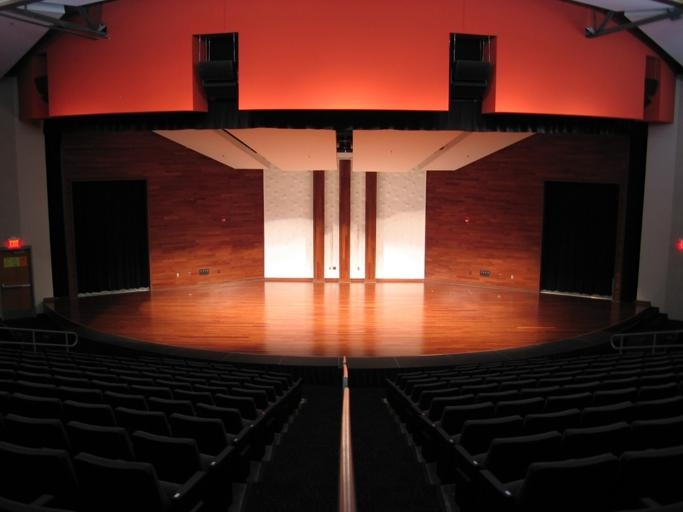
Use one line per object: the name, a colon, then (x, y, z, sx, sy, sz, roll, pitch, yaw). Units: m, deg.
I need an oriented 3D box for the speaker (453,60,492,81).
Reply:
speaker: (2.294, -3.237, 9.547, 0.412, 0.262, 0.417, 0, 13, -3)

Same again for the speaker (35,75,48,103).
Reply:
speaker: (-6.106, -3.411, 11.077, 0.249, 0.416, 0.380, 2, -2, -27)

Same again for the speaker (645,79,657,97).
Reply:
speaker: (6.186, -3.370, 10.903, 0.339, 0.266, 0.197, 2, -2, -15)

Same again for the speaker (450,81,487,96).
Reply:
speaker: (2.271, -2.977, 9.782, 0.665, 0.223, 0.159, 2, -2, 3)
